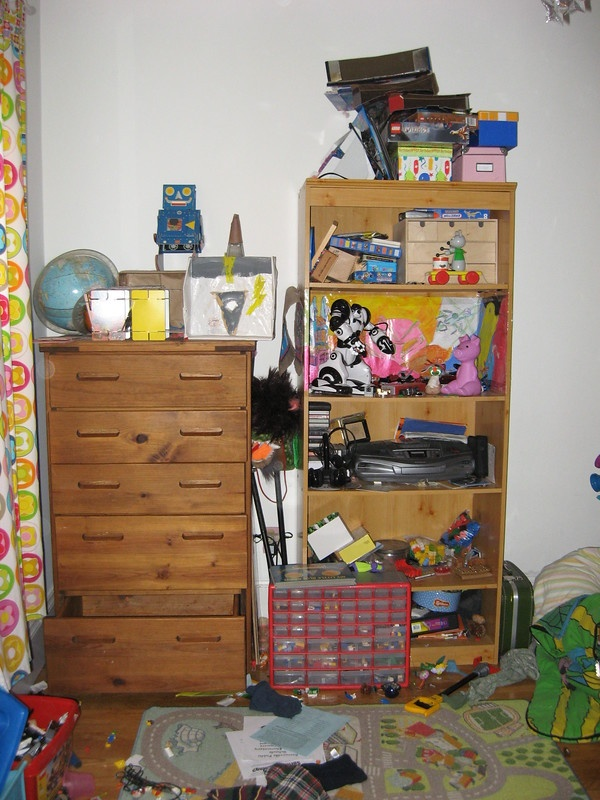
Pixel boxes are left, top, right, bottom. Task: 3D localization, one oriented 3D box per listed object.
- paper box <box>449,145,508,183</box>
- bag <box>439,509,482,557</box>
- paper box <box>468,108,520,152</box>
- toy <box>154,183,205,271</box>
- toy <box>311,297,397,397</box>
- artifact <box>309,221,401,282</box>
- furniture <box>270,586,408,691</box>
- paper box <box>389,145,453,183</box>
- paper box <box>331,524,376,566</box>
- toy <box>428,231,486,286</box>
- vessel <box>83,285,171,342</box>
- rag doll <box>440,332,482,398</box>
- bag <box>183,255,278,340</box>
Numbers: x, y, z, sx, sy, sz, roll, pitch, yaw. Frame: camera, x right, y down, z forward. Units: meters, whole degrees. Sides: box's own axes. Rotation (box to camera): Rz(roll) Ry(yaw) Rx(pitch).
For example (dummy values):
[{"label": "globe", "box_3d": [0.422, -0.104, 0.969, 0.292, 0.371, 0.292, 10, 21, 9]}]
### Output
[{"label": "paper box", "box_3d": [0.586, -0.754, 2.352, 0.151, 0.085, 0.141, 0, 7, 6]}, {"label": "bag", "box_3d": [0.579, 0.483, 2.636, 0.040, 0.128, 0.133, 39, 4, -12]}, {"label": "paper box", "box_3d": [0.620, -0.859, 2.341, 0.149, 0.118, 0.081, 2, 13, 9]}, {"label": "toy", "box_3d": [-0.407, -0.579, 2.445, 0.180, 0.278, 0.163, 4, 12, 12]}, {"label": "toy", "box_3d": [0.171, -0.163, 2.529, 0.349, 0.375, 0.317, -3, -4, 28]}, {"label": "artifact", "box_3d": [0.187, -0.473, 2.371, 0.316, 0.191, 0.192, -3, 13, -12]}, {"label": "furniture", "box_3d": [0.105, 0.764, 2.350, 0.400, 0.249, 0.134, -1, -1, -2]}, {"label": "paper box", "box_3d": [0.407, -0.752, 2.333, 0.198, 0.119, 0.164, -1, 12, -3]}, {"label": "paper box", "box_3d": [0.188, 0.500, 2.478, 0.111, 0.033, 0.110, -24, 46, -6]}, {"label": "toy", "box_3d": [0.505, -0.452, 2.344, 0.192, 0.168, 0.105, -2, 13, -6]}, {"label": "vessel", "box_3d": [-0.498, -0.259, 2.278, 0.267, 0.152, 0.140, 1, 5, 17]}, {"label": "rag doll", "box_3d": [0.551, -0.117, 2.489, 0.132, 0.184, 0.262, 2, 12, 10]}, {"label": "bag", "box_3d": [-0.221, -0.316, 2.284, 0.292, 0.246, 0.168, 0, 7, -6]}]
